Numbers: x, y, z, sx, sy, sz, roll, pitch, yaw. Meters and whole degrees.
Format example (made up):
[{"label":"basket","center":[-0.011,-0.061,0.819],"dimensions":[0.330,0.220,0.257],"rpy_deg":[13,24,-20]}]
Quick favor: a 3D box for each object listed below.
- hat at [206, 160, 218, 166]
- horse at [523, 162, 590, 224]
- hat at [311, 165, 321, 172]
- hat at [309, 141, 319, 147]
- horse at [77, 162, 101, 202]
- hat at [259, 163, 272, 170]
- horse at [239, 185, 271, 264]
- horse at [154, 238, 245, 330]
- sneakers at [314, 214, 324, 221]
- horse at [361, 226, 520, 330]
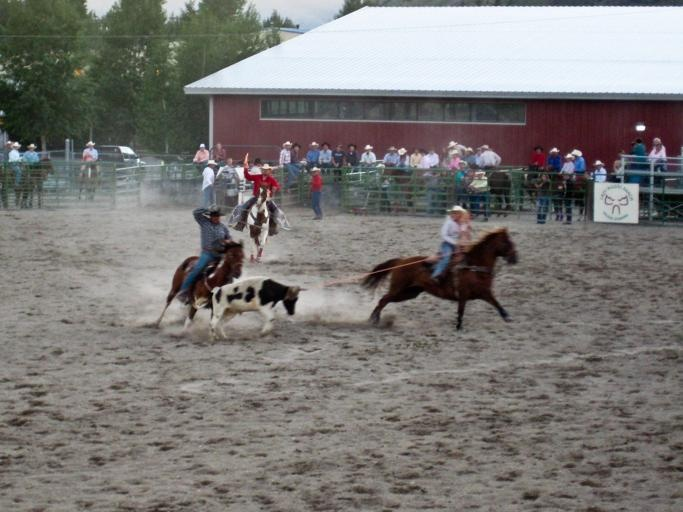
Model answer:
[{"label":"hat","center":[-3.879,-2.824,35.583],"dimensions":[0.431,0.111,0.409],"rpy_deg":[3,2,3]},{"label":"horse","center":[6.321,-1.855,34.412],"dimensions":[1.515,1.755,1.660],"rpy_deg":[0,3,8]},{"label":"hat","center":[-0.760,-2.557,34.476],"dimensions":[0.348,0.122,0.367],"rpy_deg":[0,2,-10]},{"label":"hat","center":[-0.890,-3.715,38.921],"dimensions":[0.414,0.125,0.403],"rpy_deg":[0,-18,-2]},{"label":"horse","center":[-7.927,-2.390,37.613],"dimensions":[0.782,1.233,0.392],"rpy_deg":[1,4,32]},{"label":"hat","center":[-1.843,-2.197,28.961],"dimensions":[0.440,0.133,0.473],"rpy_deg":[2,5,0]},{"label":"horse","center":[-2.043,-0.797,28.697],"dimensions":[0.575,1.722,0.927],"rpy_deg":[-1,3,2]},{"label":"horse","center":[-2.803,0.683,23.737],"dimensions":[0.642,1.828,2.584],"rpy_deg":[19,-9,-33]},{"label":"sneakers","center":[-0.681,-1.148,34.958],"dimensions":[0.310,0.188,0.112],"rpy_deg":[5,9,10]},{"label":"horse","center":[1.970,0.429,24.180],"dimensions":[3.294,1.918,0.725],"rpy_deg":[0,1,17]}]
